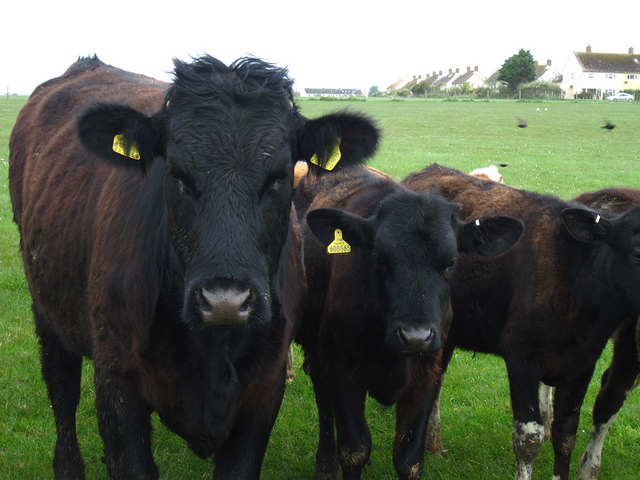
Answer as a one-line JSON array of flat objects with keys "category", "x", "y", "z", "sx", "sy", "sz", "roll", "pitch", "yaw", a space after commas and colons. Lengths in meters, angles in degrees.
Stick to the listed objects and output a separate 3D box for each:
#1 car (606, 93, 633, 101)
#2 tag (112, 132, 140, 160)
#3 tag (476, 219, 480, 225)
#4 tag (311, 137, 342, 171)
[{"category": "car", "x": 40.308, "y": -18.932, "z": 89.657, "sx": 3.218, "sy": 1.284, "sz": 1.571, "roll": 5, "pitch": 11, "yaw": 14}, {"category": "tag", "x": -1.708, "y": -0.813, "z": 5.880, "sx": 0.230, "sy": 0.209, "sz": 0.066, "roll": 3, "pitch": 10, "yaw": 1}, {"category": "tag", "x": 1.685, "y": -0.181, "z": 7.194, "sx": 0.032, "sy": 0.071, "sz": 0.036, "roll": 0, "pitch": 12, "yaw": 13}, {"category": "tag", "x": 0.078, "y": -0.784, "z": 6.393, "sx": 0.187, "sy": 0.362, "sz": 0.077, "roll": 20, "pitch": -5, "yaw": -31}]
